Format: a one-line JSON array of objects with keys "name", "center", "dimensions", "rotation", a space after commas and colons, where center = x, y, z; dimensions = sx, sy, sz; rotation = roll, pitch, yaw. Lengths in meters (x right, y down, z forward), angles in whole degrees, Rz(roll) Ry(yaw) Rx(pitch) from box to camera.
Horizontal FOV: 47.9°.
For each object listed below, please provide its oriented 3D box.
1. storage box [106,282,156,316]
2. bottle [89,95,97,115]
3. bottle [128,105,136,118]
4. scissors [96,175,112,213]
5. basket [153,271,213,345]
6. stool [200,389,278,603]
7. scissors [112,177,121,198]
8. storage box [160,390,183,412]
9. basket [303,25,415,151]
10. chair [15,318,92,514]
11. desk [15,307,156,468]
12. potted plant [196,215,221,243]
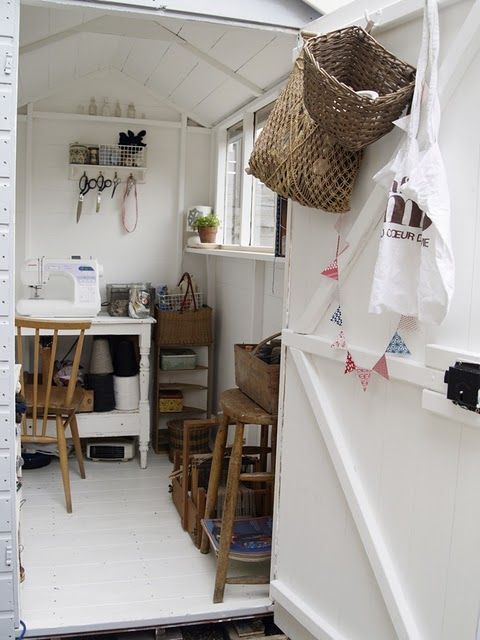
[{"name": "storage box", "center": [-0.739, -0.123, 3.620], "dimensions": [0.244, 0.170, 0.260], "rotation": [1, 2, -14]}, {"name": "bottle", "center": [-1.014, -1.465, 3.726], "dimensions": [0.063, 0.141, 0.066], "rotation": [1, 1, 0]}, {"name": "bottle", "center": [-0.765, -1.468, 3.822], "dimensions": [0.058, 0.099, 0.039], "rotation": [0, 1, -18]}, {"name": "scissors", "center": [-0.980, -0.900, 3.837], "dimensions": [0.117, 0.234, 0.015], "rotation": [9, 13, -2]}, {"name": "basket", "center": [-0.389, -0.035, 3.903], "dimensions": [0.372, 0.546, 0.311], "rotation": [-1, -13, -7]}, {"name": "stool", "center": [-0.019, 0.676, 2.250], "dimensions": [0.333, 0.779, 0.716], "rotation": [1, 1, 4]}, {"name": "scissors", "center": [-0.888, -0.944, 3.867], "dimensions": [0.066, 0.140, 0.039], "rotation": [0, 1, -9]}, {"name": "storage box", "center": [-0.492, 0.580, 3.838], "dimensions": [0.158, 0.141, 0.181], "rotation": [0, 1, -6]}, {"name": "basket", "center": [0.217, -0.513, 1.237], "dimensions": [0.194, 0.181, 0.279], "rotation": [-19, 55, -22]}, {"name": "chair", "center": [-1.124, 0.490, 3.168], "dimensions": [0.468, 1.016, 1.355], "rotation": [0, 2, -15]}, {"name": "desk", "center": [-1.015, 0.475, 3.817], "dimensions": [0.638, 0.939, 0.898], "rotation": [6, -6, -37]}, {"name": "potted plant", "center": [-0.221, -0.622, 3.641], "dimensions": [0.158, 0.198, 0.186], "rotation": [-5, 13, -25]}]
